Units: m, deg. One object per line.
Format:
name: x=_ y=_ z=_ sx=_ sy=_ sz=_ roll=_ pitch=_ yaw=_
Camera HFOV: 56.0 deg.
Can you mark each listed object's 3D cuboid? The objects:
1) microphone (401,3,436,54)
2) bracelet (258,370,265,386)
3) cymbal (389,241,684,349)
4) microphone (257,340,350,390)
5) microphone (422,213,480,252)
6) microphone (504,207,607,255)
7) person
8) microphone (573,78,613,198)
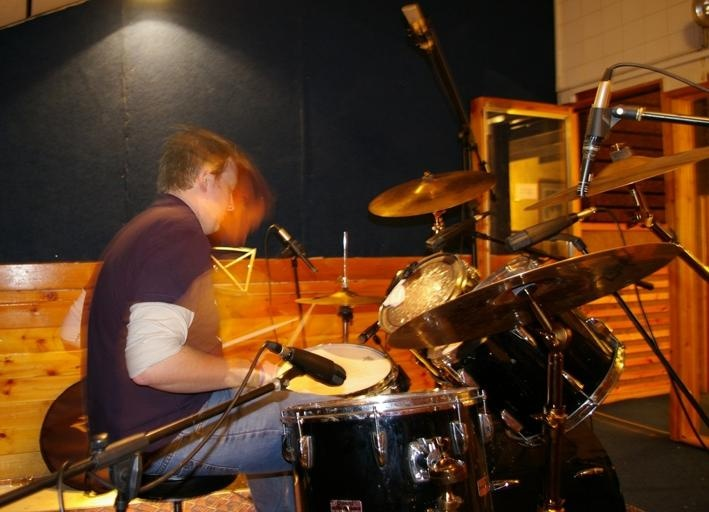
microphone: x=0.424 y=-1.427 z=4.223 sx=0.186 sy=0.272 sz=0.338 roll=-1 pitch=-3 yaw=8
bracelet: x=-0.389 y=0.517 z=2.830 sx=0.013 sy=0.047 sz=0.049 roll=12 pitch=6 yaw=-21
cymbal: x=0.760 y=0.164 z=2.997 sx=0.940 sy=0.060 sz=0.967 roll=-9 pitch=13 yaw=47
microphone: x=-0.166 y=0.440 z=2.775 sx=0.452 sy=0.124 sz=0.165 roll=18 pitch=-41 yaw=-30
microphone: x=0.658 y=-0.178 z=4.618 sx=0.649 sy=0.143 sz=0.146 roll=-21 pitch=7 yaw=-35
microphone: x=1.286 y=-0.176 z=4.361 sx=0.924 sy=0.151 sz=0.170 roll=-18 pitch=-33 yaw=-26
person: x=-0.589 y=0.301 z=3.174 sx=0.747 sy=1.811 sz=1.310 roll=-3 pitch=-3 yaw=27
microphone: x=0.997 y=-0.514 z=2.884 sx=0.184 sy=0.533 sz=0.094 roll=2 pitch=10 yaw=-6
